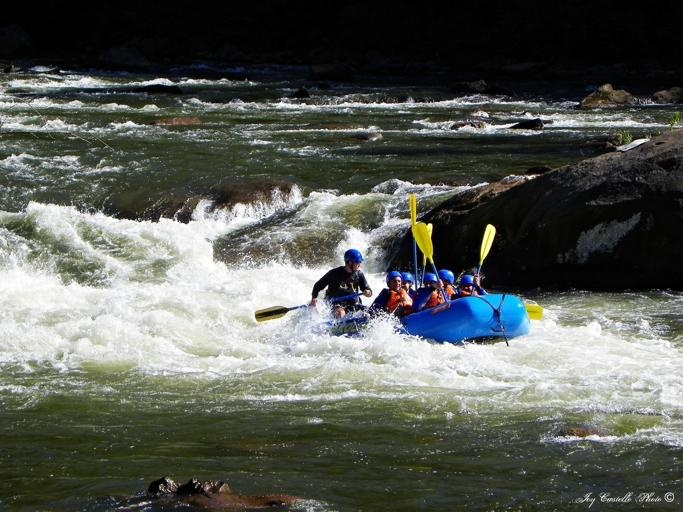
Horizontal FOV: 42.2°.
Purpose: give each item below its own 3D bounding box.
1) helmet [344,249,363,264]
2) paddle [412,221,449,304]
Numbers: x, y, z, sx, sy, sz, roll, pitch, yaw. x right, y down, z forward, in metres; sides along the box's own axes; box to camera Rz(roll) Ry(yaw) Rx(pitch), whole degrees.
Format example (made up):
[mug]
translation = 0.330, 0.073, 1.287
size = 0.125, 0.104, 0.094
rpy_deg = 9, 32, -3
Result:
[helmet]
translation = 0.208, 0.001, 13.100
size = 0.321, 0.164, 0.190
rpy_deg = 18, 11, 8
[paddle]
translation = 1.442, 0.053, 13.432
size = 0.303, 1.428, 0.132
rpy_deg = -34, -26, 14
